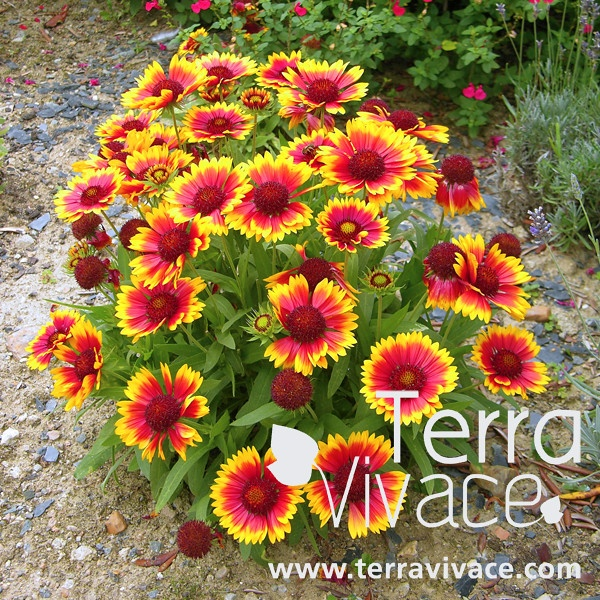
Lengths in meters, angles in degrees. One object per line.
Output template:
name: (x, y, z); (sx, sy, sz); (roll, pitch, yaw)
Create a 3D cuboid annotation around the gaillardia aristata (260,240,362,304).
gaillardia aristata: (0.047, -0.070, 1.547); (0.284, 0.288, 0.107); (7, 99, 22)

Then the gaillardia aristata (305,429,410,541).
gaillardia aristata: (0.169, 0.532, 1.540); (0.255, 0.255, 0.282); (23, 67, 27)

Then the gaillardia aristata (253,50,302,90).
gaillardia aristata: (-0.075, -0.820, 1.849); (0.196, 0.059, 0.168); (-7, 70, 9)

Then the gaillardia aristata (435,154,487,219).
gaillardia aristata: (0.519, -0.377, 1.725); (0.211, 0.121, 0.213); (-4, 21, 2)

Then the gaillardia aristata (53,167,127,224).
gaillardia aristata: (-0.693, -0.360, 1.700); (0.234, 0.061, 0.206); (-32, 55, -7)

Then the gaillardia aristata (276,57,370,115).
gaillardia aristata: (0.072, -0.745, 1.781); (0.268, 0.244, 0.079); (8, 104, 28)

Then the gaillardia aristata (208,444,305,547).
gaillardia aristata: (-0.132, 0.576, 1.527); (0.282, 0.065, 0.244); (0, 52, -29)

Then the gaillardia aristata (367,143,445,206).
gaillardia aristata: (0.338, -0.345, 1.545); (0.234, 0.047, 0.203); (15, 103, -5)

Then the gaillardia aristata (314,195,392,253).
gaillardia aristata: (0.143, -0.216, 1.481); (0.173, 0.189, 0.066); (-34, 41, 51)

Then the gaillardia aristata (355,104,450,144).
gaillardia aristata: (0.350, -0.590, 1.718); (0.263, 0.072, 0.266); (8, 34, 42)

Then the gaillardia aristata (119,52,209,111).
gaillardia aristata: (-0.464, -0.782, 1.846); (0.205, 0.188, 0.065); (-3, 90, 30)

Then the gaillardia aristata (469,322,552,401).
gaillardia aristata: (0.613, 0.163, 1.589); (0.101, 0.265, 0.238); (47, 74, -4)

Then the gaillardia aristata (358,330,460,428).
gaillardia aristata: (0.293, 0.226, 1.467); (0.274, 0.068, 0.257); (-32, 62, -18)

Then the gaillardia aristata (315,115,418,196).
gaillardia aristata: (0.203, -0.428, 1.538); (0.334, 0.315, 0.088); (-8, 76, 46)

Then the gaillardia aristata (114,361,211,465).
gaillardia aristata: (-0.374, 0.316, 1.467); (0.299, 0.095, 0.250); (-9, 59, 11)

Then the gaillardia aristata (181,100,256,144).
gaillardia aristata: (-0.296, -0.636, 1.867); (0.274, 0.073, 0.242); (-10, 47, -9)

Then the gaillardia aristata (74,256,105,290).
gaillardia aristata: (-0.761, -0.096, 1.947); (0.110, 0.074, 0.116); (-25, 64, 15)

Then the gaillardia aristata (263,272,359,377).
gaillardia aristata: (0.049, 0.086, 1.453); (0.224, 0.261, 0.283); (0, 59, 17)
